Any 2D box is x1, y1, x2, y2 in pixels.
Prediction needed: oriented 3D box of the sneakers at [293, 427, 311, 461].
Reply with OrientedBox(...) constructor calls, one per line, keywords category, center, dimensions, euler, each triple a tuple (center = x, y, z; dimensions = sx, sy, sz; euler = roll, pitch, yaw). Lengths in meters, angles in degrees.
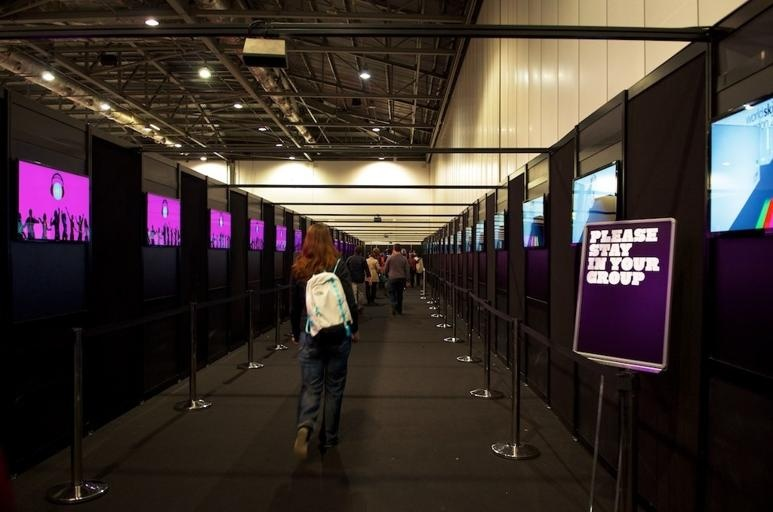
OrientedBox(category="sneakers", center=(-0.722, 1.590, 4.820), dimensions=(0.125, 0.361, 0.150), euler=(2, 21, 4))
